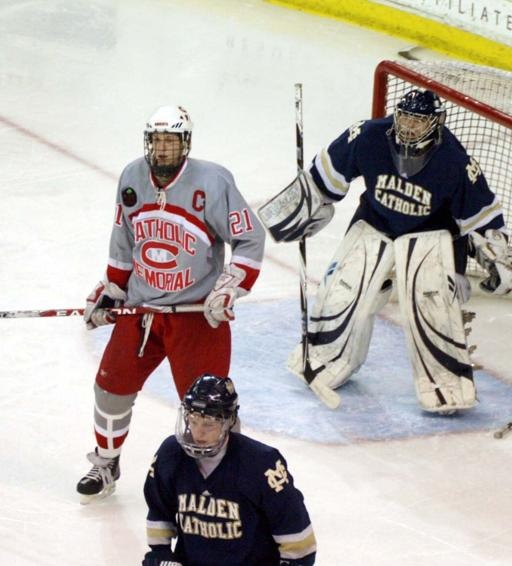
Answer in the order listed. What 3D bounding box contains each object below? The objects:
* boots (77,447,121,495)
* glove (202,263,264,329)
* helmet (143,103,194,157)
[{"bbox_3d":[-0.512,0.602,2.590,0.080,0.119,0.219,10,4,9],"label":"boots"},{"bbox_3d":[-0.091,0.039,2.386,0.081,0.196,0.127,36,-8,29],"label":"glove"},{"bbox_3d":[-0.269,-0.461,2.453,0.145,0.144,0.165,0,16,8],"label":"helmet"}]
